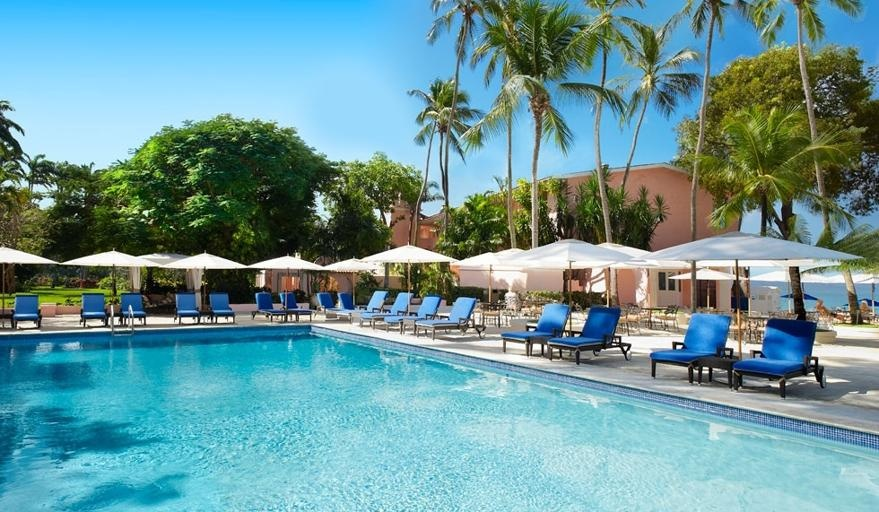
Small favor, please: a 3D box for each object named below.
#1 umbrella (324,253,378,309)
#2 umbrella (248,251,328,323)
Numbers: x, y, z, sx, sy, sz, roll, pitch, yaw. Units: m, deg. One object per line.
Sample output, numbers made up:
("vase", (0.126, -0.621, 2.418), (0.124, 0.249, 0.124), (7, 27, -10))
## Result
("umbrella", (-4.511, 1.699, 33.102), (3.307, 2.862, 3.129), (-2, 7, -19))
("umbrella", (-7.968, 1.854, 33.107), (3.916, 2.624, 3.659), (0, 2, -11))
